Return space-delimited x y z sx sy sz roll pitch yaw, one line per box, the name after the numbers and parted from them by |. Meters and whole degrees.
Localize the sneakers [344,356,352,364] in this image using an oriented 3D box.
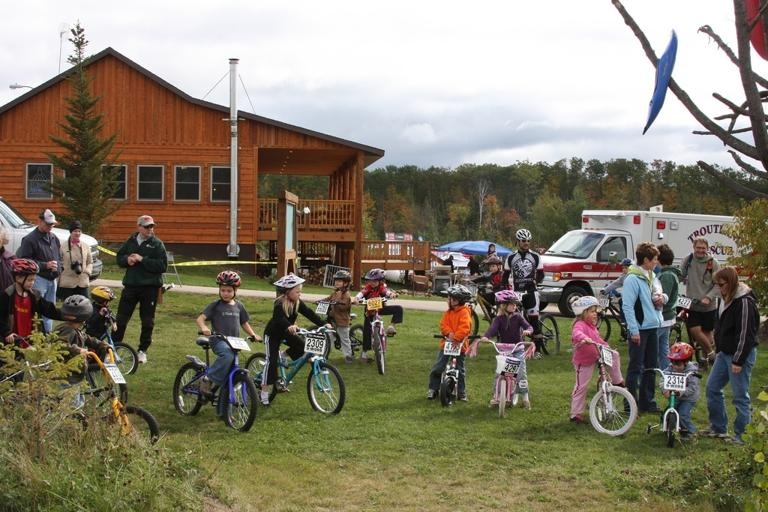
-0.645 1.892 16.464 0.120 0.140 0.112 -1 1 -13 | sneakers

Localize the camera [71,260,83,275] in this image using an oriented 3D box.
-5.307 0.175 15.676 0.193 0.189 0.188 -2 0 -45 | camera

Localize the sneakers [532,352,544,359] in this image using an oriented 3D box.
2.948 1.890 17.196 0.118 0.129 0.329 -4 -9 8 | sneakers

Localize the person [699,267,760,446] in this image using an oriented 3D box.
4.859 1.360 12.426 0.554 2.381 0.814 -9 16 -36 | person

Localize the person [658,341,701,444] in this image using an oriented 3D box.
4.110 1.886 12.523 0.501 1.252 0.771 5 13 20 | person

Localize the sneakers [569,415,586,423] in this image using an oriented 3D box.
2.866 2.403 13.282 0.096 0.088 0.206 -1 -8 -7 | sneakers

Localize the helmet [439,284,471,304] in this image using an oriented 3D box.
1.149 0.571 14.076 0.406 0.219 0.276 7 0 3 | helmet

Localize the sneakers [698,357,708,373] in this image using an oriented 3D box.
5.675 1.937 16.017 0.225 0.114 0.230 -43 4 -26 | sneakers

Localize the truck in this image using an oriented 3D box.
6.753 0.206 24.252 5.393 2.716 3.090 3 -2 -4 | truck

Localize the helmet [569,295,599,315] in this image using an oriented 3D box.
2.981 0.749 13.348 0.365 0.322 0.402 4 13 16 | helmet

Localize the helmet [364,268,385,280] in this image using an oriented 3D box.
-0.125 0.320 16.506 0.218 0.157 0.319 -2 -4 39 | helmet

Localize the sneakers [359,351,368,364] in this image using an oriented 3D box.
-0.367 1.866 16.625 0.191 0.210 0.529 2 3 3 | sneakers

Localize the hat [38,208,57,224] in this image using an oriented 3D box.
-5.540 -0.664 14.858 0.222 0.302 0.298 -4 13 -22 | hat

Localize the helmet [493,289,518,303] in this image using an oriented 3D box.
1.918 0.617 14.022 0.295 0.117 0.208 -3 1 12 | helmet

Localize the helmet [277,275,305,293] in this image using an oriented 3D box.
-1.406 0.447 13.452 0.362 0.152 0.255 -21 12 11 | helmet

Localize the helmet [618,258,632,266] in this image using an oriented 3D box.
4.902 0.112 18.246 0.270 0.156 0.382 -3 -6 30 | helmet

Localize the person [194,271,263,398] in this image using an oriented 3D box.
-2.233 1.055 12.955 0.809 1.601 0.959 0 12 -4 | person

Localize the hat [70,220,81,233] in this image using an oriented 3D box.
-5.286 -0.522 15.491 0.168 0.198 0.222 -3 6 -19 | hat

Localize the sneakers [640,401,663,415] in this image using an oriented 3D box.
4.016 2.295 13.637 0.381 0.253 0.131 -3 3 -6 | sneakers
